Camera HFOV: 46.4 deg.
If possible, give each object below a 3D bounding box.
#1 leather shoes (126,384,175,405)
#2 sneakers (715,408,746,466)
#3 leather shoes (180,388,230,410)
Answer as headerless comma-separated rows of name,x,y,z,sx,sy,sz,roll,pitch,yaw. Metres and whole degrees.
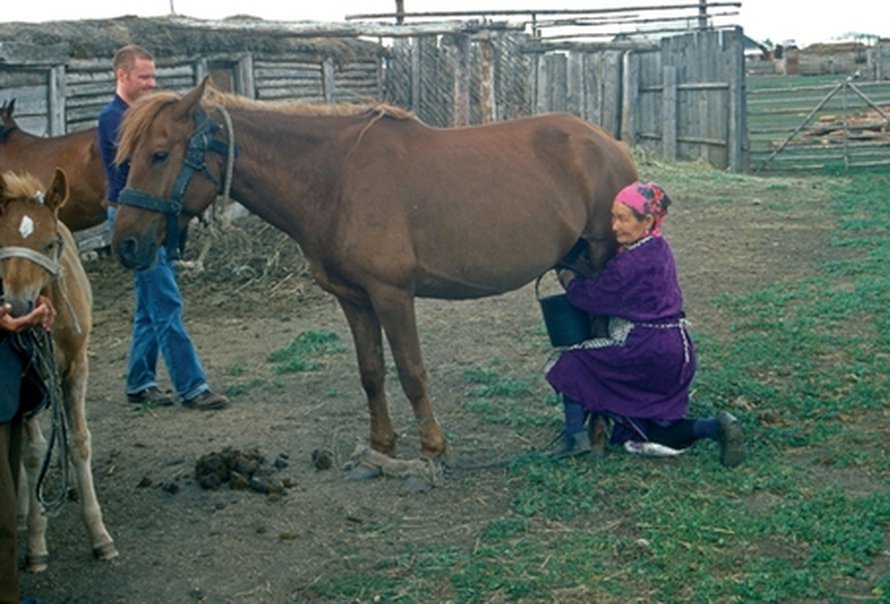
leather shoes,-2.576,0.805,9.123,0.420,0.154,0.165,-3,4,-2
sneakers,2.081,0.999,7.573,0.209,0.366,0.183,-1,-3,-3
leather shoes,-2.079,0.839,9.036,0.412,0.150,0.164,-3,3,2
